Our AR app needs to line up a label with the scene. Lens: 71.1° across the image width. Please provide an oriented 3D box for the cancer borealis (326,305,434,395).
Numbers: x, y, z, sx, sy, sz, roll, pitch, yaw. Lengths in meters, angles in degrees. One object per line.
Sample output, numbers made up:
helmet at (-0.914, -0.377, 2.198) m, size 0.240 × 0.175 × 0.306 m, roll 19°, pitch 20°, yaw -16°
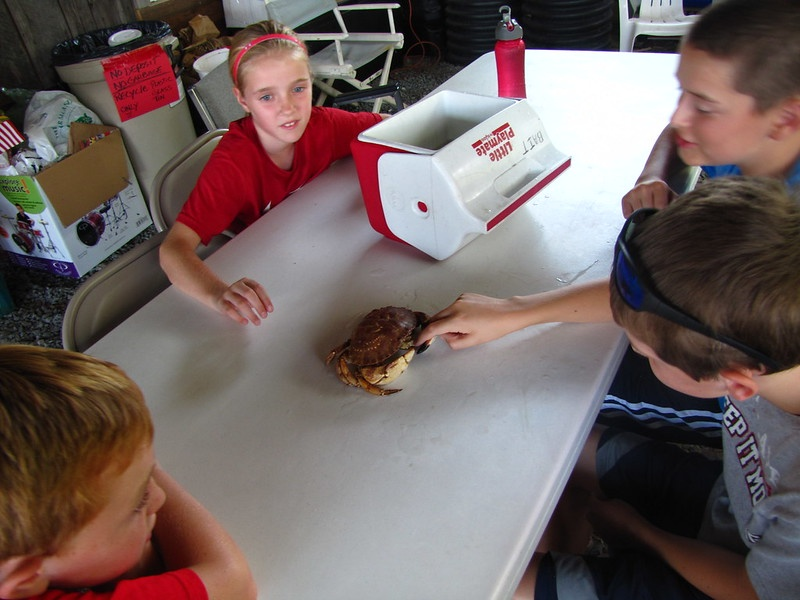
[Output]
cancer borealis at (-0.044, 0.079, 1.176) m, size 0.199 × 0.081 × 0.247 m, roll 14°, pitch 40°, yaw 19°

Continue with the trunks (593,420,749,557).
trunks at (0.611, 0.418, 1.267) m, size 0.287 × 0.092 × 0.192 m, roll 15°, pitch 58°, yaw 39°

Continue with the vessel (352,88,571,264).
vessel at (0.164, -0.326, 1.431) m, size 0.467 × 0.257 × 0.438 m, roll 16°, pitch 46°, yaw 22°
